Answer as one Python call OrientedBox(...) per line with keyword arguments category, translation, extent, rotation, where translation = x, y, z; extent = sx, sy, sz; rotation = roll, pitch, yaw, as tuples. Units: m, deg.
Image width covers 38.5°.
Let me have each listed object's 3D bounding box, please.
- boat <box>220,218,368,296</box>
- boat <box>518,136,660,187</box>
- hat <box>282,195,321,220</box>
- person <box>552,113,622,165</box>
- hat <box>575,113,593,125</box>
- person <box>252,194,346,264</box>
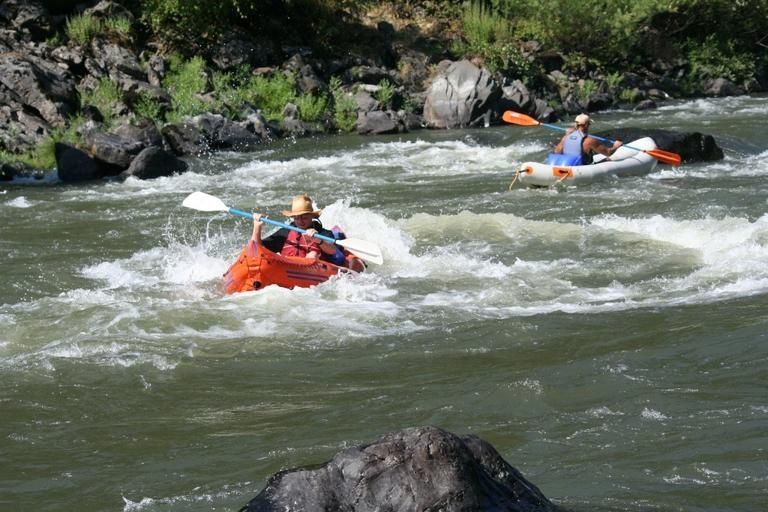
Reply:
OrientedBox(category="boat", translation=(-1.512, 0.039, 18.915), extent=(2.179, 0.709, 1.041), rotation=(-15, 12, -40))
OrientedBox(category="boat", translation=(4.509, -1.920, 23.796), extent=(2.830, 0.494, 1.142), rotation=(-14, 22, -22))
OrientedBox(category="hat", translation=(-1.341, -0.840, 19.012), extent=(0.516, 0.203, 0.535), rotation=(-5, 1, 7))
OrientedBox(category="person", translation=(4.409, -2.621, 24.136), extent=(1.732, 0.840, 1.001), rotation=(-29, 36, -35))
OrientedBox(category="hat", translation=(4.274, -2.895, 23.655), extent=(0.267, 0.280, 0.358), rotation=(-1, 14, -1))
OrientedBox(category="person", translation=(-1.485, -0.438, 19.677), extent=(1.287, 1.738, 0.780), rotation=(-8, -21, -13))
